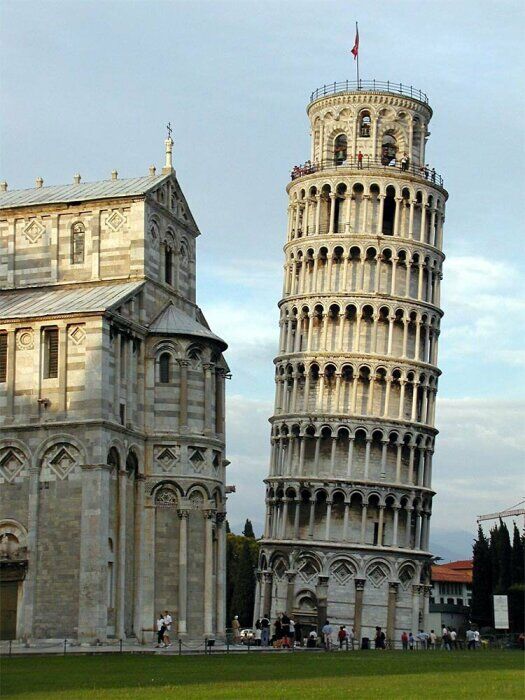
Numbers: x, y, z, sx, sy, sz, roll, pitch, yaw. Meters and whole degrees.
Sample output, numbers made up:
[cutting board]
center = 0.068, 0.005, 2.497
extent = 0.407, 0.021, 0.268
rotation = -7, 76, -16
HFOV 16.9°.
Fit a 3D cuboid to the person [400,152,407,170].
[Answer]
[person]
center = 9.852, -13.275, 124.397
extent = 0.485, 1.419, 0.942
rotation = -1, -10, 13
